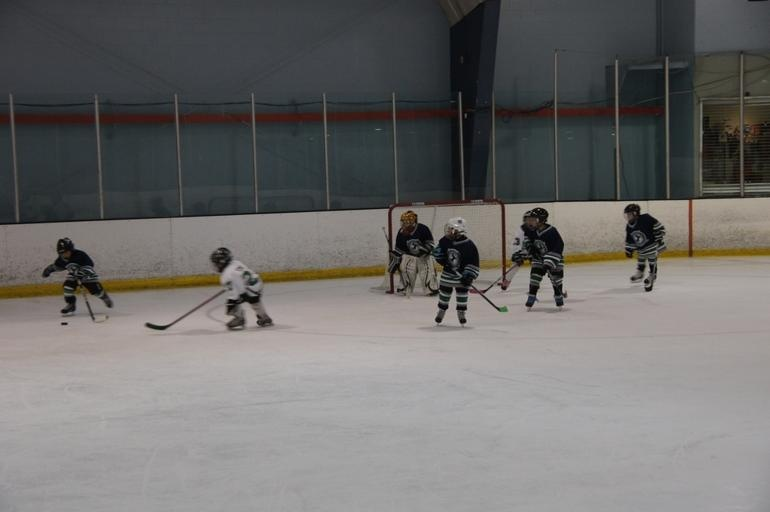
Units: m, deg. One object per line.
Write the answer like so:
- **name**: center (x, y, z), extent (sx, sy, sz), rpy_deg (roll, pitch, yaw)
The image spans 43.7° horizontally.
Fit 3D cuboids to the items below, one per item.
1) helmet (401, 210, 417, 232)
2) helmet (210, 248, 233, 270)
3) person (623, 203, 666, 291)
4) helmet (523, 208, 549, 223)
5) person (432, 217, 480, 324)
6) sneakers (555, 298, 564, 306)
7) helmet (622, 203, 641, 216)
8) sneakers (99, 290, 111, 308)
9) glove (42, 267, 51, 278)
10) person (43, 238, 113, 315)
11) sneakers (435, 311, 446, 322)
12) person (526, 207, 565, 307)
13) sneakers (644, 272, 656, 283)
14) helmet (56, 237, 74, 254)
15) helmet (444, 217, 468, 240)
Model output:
- **helmet**: center (0.303, -0.544, 14.079), extent (0.251, 0.282, 0.291), rpy_deg (-5, -27, 14)
- **helmet**: center (-2.052, 0.023, 12.169), extent (0.309, 0.323, 0.111), rpy_deg (3, 10, -5)
- **person**: center (3.818, -0.165, 14.059), extent (0.561, 1.225, 0.777), rpy_deg (-6, 7, -12)
- **helmet**: center (2.013, -0.566, 12.799), extent (0.280, 0.205, 0.212), rpy_deg (13, 0, 12)
- **person**: center (0.878, 0.185, 11.971), extent (0.578, 1.332, 0.603), rpy_deg (-4, 7, 3)
- **sneakers**: center (2.288, 0.593, 12.621), extent (0.112, 0.117, 0.108), rpy_deg (-2, -2, -2)
- **helmet**: center (3.651, -0.702, 14.143), extent (0.190, 0.159, 0.489), rpy_deg (-2, 7, 19)
- **sneakers**: center (-3.984, 0.606, 13.659), extent (0.111, 0.274, 0.094), rpy_deg (17, 54, 25)
- **glove**: center (-4.782, 0.222, 13.584), extent (0.109, 0.136, 0.121), rpy_deg (-1, 48, -17)
- **person**: center (-4.219, 0.298, 13.399), extent (0.541, 1.042, 1.146), rpy_deg (-2, -3, 36)
- **sneakers**: center (0.706, 0.757, 12.136), extent (0.051, 0.140, 0.100), rpy_deg (18, 3, 8)
- **person**: center (2.116, 0.019, 12.811), extent (0.516, 1.327, 0.664), rpy_deg (-3, 7, 11)
- **sneakers**: center (3.895, 0.304, 14.085), extent (0.140, 0.201, 0.630), rpy_deg (-2, 7, 19)
- **helmet**: center (-4.382, -0.158, 13.151), extent (0.216, 0.234, 0.272), rpy_deg (-5, 1, -7)
- **helmet**: center (0.878, -0.354, 11.911), extent (0.291, 0.241, 0.225), rpy_deg (4, 1, 2)
